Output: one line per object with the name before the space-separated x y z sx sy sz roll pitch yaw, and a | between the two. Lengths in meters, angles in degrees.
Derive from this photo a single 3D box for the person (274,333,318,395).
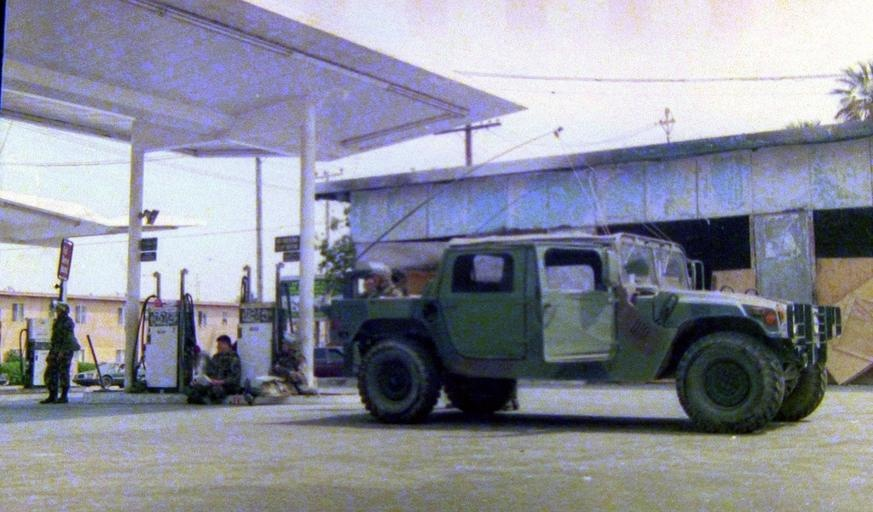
person | -3.511 2.693 20.399 0.703 1.456 0.873 -6 1 44

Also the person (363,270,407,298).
person | -1.209 0.687 17.724 0.666 0.363 0.959 -2 -5 -45
